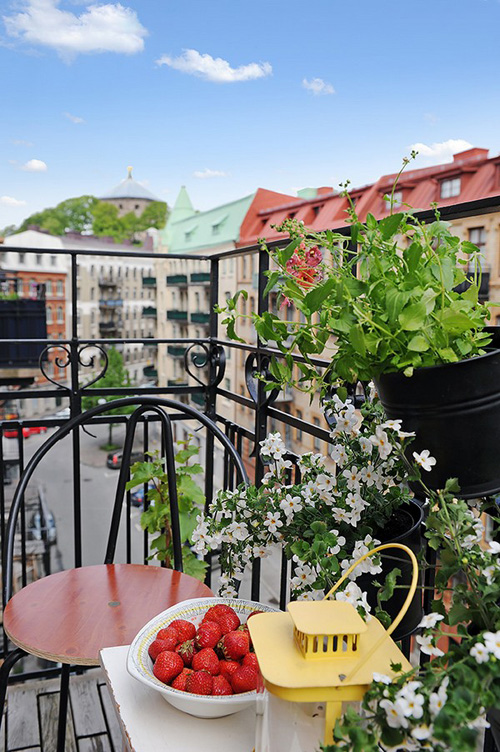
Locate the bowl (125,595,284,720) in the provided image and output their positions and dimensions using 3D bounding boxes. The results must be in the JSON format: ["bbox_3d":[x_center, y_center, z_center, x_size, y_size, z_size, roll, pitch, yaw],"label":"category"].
[{"bbox_3d":[-0.044,0.276,0.723,0.191,0.098,0.169,5,6,45],"label":"bowl"}]
